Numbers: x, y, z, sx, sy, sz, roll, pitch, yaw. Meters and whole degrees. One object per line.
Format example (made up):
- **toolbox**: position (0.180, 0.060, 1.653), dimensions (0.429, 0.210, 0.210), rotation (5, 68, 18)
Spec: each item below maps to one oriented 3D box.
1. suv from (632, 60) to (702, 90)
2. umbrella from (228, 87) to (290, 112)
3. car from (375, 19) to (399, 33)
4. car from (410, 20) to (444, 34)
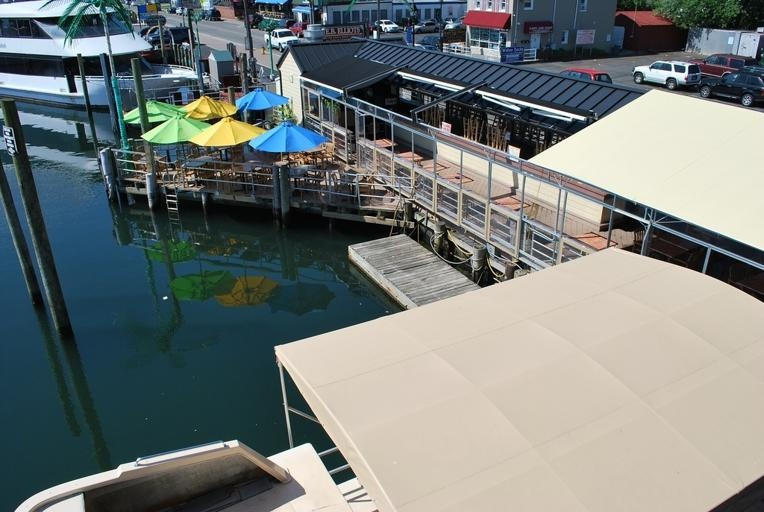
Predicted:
- **suv**: position (18.641, -11.674, 39.561), dimensions (0.921, 1.879, 3.879), rotation (-17, 34, -27)
- **umbrella**: position (-4.924, -6.253, 24.797), dimensions (1.742, 0.801, 1.458), rotation (-22, 37, -36)
- **car**: position (0.648, -23.007, 61.745), dimensions (1.782, 0.991, 1.949), rotation (-10, 31, -18)
- **car**: position (4.714, -23.568, 63.099), dimensions (4.048, 1.058, 1.770), rotation (-16, 33, -28)
